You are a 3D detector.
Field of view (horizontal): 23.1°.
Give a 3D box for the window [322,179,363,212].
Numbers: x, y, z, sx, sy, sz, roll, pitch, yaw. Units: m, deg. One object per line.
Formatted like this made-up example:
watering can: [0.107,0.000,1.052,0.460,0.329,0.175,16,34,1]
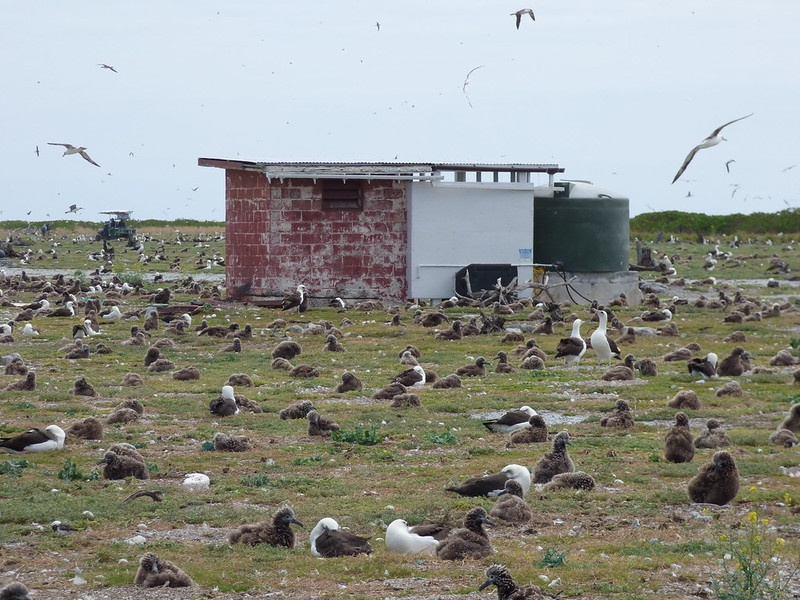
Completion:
window: [-2.232,-3.827,71.639,1.507,1.331,1.097,-1,2,-24]
